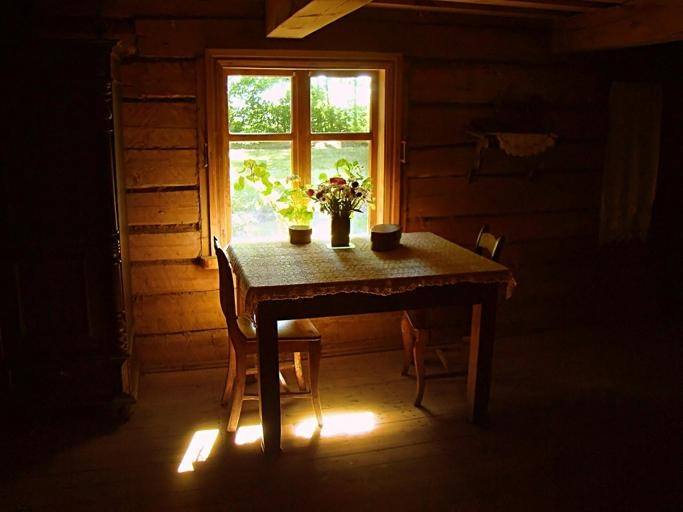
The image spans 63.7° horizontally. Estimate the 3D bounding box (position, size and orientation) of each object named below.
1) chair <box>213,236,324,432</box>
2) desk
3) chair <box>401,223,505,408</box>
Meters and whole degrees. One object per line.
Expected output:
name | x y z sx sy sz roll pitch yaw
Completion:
chair | -0.460 0.496 3.539 0.600 1.126 0.555 -3 8 -19
desk | 0.153 0.451 3.838 1.644 1.060 1.358 -4 15 -14
chair | 0.795 0.386 3.995 0.661 1.109 0.573 -3 12 0
